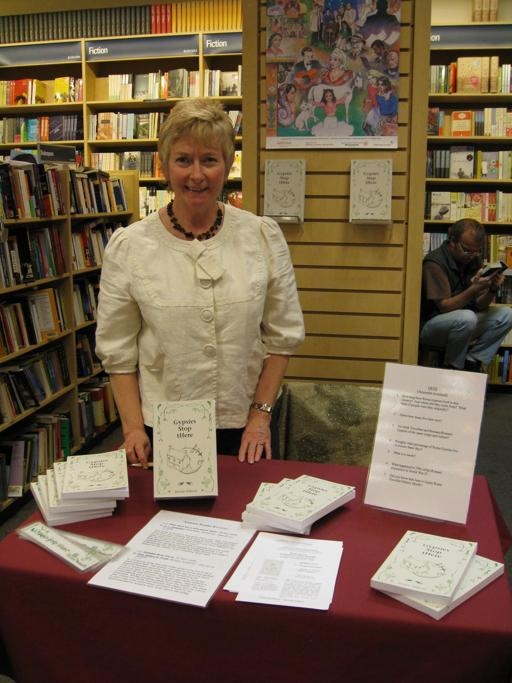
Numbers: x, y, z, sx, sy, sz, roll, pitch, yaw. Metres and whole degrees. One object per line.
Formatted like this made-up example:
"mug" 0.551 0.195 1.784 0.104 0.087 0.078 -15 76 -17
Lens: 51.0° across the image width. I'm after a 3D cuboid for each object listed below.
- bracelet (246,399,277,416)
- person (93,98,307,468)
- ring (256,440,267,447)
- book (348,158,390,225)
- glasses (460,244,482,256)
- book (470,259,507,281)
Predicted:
"bracelet" 0.013 0.164 1.382 0.052 0.032 0.051 11 -7 -23
"person" -0.111 -0.119 1.299 0.544 0.911 0.357 -4 10 -16
"ring" 0.013 0.241 1.263 0.015 0.010 0.019 0 2 -6
"book" 0.539 -0.690 2.470 0.204 0.282 0.076 -1 9 -1
"glasses" 1.638 -0.714 4.130 0.116 0.114 0.035 -3 -19 -4
"book" 1.757 -0.570 3.987 0.203 0.052 0.196 -15 -12 -11
